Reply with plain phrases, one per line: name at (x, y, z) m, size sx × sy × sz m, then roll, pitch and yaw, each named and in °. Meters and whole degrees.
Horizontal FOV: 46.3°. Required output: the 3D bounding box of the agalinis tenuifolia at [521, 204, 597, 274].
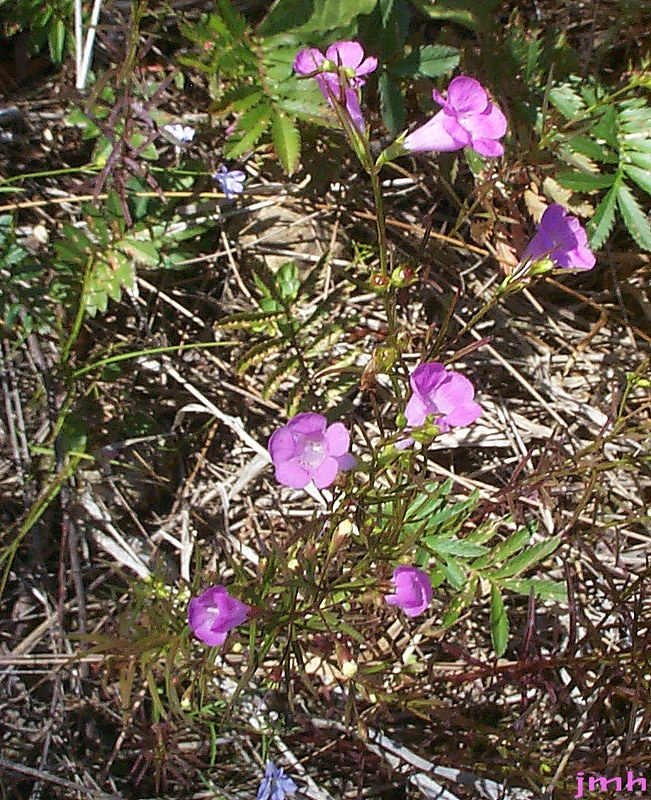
agalinis tenuifolia at (0.547, -0.355, 1.723) m, size 0.150 × 0.124 × 0.156 m, roll 21°, pitch 62°, yaw 9°

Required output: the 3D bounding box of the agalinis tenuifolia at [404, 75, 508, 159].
agalinis tenuifolia at (0.257, -0.557, 1.531) m, size 0.224 × 0.137 × 0.136 m, roll -3°, pitch 61°, yaw -5°

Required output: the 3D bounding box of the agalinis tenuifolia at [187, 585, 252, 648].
agalinis tenuifolia at (-0.232, 0.431, 1.532) m, size 0.142 × 0.132 × 0.059 m, roll -6°, pitch 97°, yaw -48°
